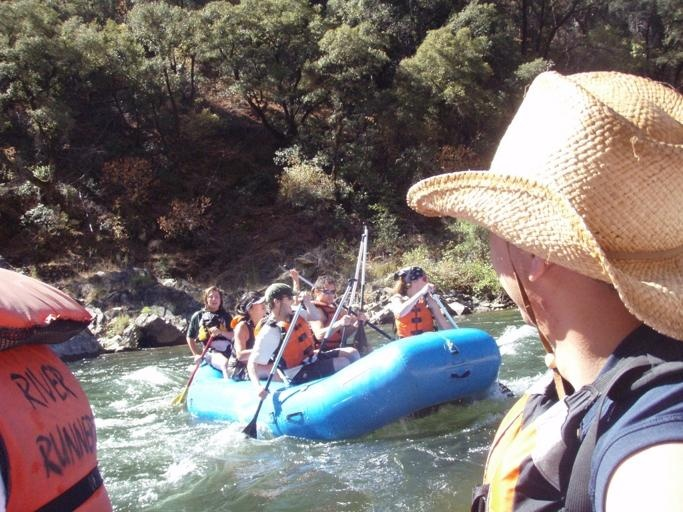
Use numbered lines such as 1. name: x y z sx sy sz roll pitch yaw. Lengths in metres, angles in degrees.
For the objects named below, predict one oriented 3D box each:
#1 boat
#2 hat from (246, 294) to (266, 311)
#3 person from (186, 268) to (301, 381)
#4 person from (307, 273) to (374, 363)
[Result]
1. boat: -0.184 1.381 5.803 2.140 0.684 1.346 -21 -14 38
2. hat: -0.973 0.521 6.906 0.227 0.127 0.173 -37 -9 15
3. person: -1.137 0.682 6.720 1.493 0.797 0.943 -36 -20 17
4. person: -0.144 0.747 6.946 0.479 1.010 0.513 13 26 19
